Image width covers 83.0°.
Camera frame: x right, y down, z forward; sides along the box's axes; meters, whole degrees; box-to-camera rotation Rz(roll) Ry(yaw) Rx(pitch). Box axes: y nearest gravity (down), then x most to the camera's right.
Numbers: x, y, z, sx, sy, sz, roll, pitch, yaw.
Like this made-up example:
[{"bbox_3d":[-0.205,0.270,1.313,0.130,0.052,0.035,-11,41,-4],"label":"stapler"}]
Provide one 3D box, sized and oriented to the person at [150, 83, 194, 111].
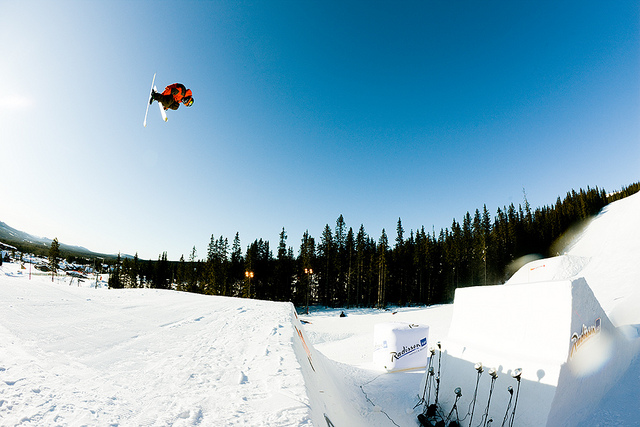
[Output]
[{"bbox_3d":[-7.795,-6.096,18.519,2.444,1.062,1.496,12,16,2],"label":"person"}]
